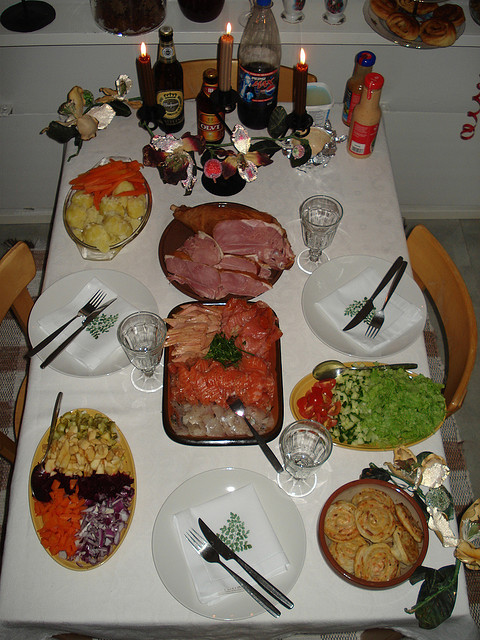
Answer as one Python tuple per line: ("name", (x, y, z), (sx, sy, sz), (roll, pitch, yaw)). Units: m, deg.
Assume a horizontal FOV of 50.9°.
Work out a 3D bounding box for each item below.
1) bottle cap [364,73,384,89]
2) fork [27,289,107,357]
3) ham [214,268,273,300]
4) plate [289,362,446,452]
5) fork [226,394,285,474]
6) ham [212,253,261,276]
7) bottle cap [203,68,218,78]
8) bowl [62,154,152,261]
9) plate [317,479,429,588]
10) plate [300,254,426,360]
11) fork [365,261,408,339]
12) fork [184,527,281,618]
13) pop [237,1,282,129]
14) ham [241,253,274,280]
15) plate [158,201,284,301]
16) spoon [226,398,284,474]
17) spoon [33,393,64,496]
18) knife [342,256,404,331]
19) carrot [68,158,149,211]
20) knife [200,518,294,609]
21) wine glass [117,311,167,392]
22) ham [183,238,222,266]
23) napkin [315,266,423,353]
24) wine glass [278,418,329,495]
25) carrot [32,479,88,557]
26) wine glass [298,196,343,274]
("bottle cap", (0.421, -0.758, 1.598), (0.060, 0.021, 0.058), (7, 72, 3))
("fork", (-0.469, 0.015, 1.384), (0.044, 0.037, 0.265), (35, 63, 18))
("ham", (0.009, -0.096, 1.433), (0.156, 0.065, 0.094), (4, 58, 1))
("plate", (0.301, 0.205, 1.264), (0.354, 0.092, 0.263), (-4, 58, -5))
("fork", (0.032, 0.283, 1.212), (0.035, 0.027, 0.242), (-26, 52, -13))
("ham", (-0.008, -0.156, 1.446), (0.116, 0.027, 0.058), (17, 67, -6))
("bottle cap", (-0.084, -0.705, 1.430), (0.037, 0.018, 0.041), (-2, 58, -3))
("bowl", (-0.482, -0.317, 1.680), (0.359, 0.458, 0.146), (7, 69, -7))
("plate", (0.271, 0.459, 1.062), (0.215, 0.087, 0.215), (-3, 54, 1))
("plate", (0.348, -0.027, 1.451), (0.211, 0.149, 0.235), (-25, 45, -27))
("fork", (0.428, -0.065, 1.459), (0.034, 0.058, 0.277), (25, 60, 13))
("fork", (-0.014, 0.522, 1.031), (0.259, 0.020, 0.034), (43, 48, -3))
("pop", (0.058, -0.869, 1.820), (0.157, 0.465, 0.177), (10, 38, 11))
("ham", (0.049, -0.151, 1.486), (0.078, 0.023, 0.077), (31, 46, -30))
("plate", (-0.036, -0.133, 1.447), (0.409, 0.397, 0.053), (0, 59, -35))
("spoon", (0.031, 0.286, 1.212), (0.031, 0.018, 0.205), (-31, 70, -10))
("spoon", (-0.450, 0.293, 1.194), (0.032, 0.024, 0.180), (-5, 63, 31))
("knife", (0.386, -0.067, 1.471), (0.040, 0.023, 0.272), (39, 67, -1))
("carrot", (-0.418, -0.426, 1.624), (0.194, 0.057, 0.174), (-25, 85, 4))
("knife", (0.013, 0.519, 1.055), (0.028, 0.013, 0.259), (-31, 52, -25))
("wine glass", (-0.241, 0.087, 1.335), (0.135, 0.185, 0.129), (18, 27, -14))
("ham", (-0.109, -0.200, 1.452), (0.100, 0.024, 0.071), (29, 76, 22))
("napkin", (0.378, -0.025, 1.455), (0.250, 0.033, 0.217), (-41, 69, -16))
("wine glass", (0.142, 0.319, 1.181), (0.107, 0.165, 0.161), (15, 59, 8))
("carrot", (-0.390, 0.420, 1.049), (0.094, 0.029, 0.126), (-1, 59, -3))
("wine glass", (0.245, -0.260, 1.592), (0.147, 0.201, 0.139), (20, 37, 27))
